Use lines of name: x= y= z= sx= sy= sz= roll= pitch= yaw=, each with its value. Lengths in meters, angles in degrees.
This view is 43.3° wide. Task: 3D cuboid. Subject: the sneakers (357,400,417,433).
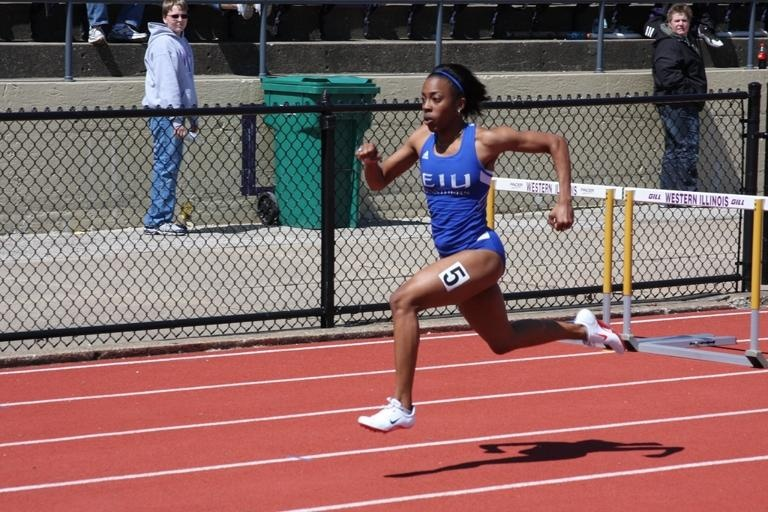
sneakers: x=0.018 y=1.055 z=6.467 sx=0.356 sy=0.236 sz=0.153 roll=-4 pitch=9 yaw=-24

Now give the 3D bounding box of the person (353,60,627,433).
person: x=0.620 y=-0.083 z=6.647 sx=1.600 sy=2.426 sz=0.809 roll=-1 pitch=9 yaw=-2
